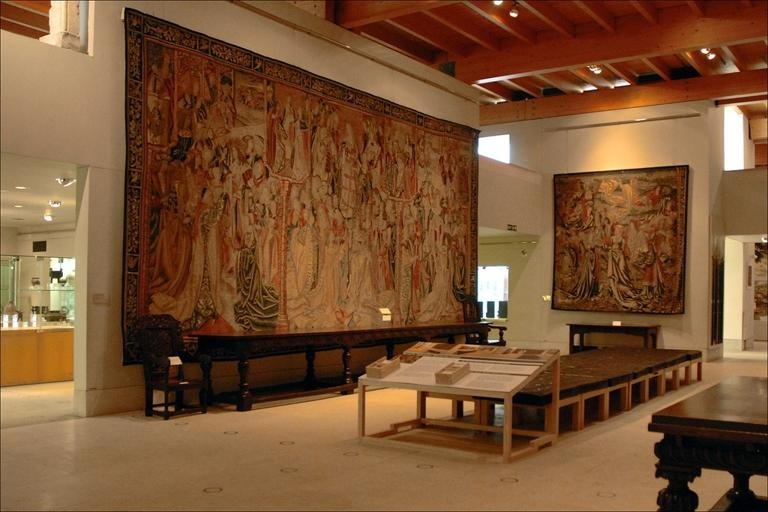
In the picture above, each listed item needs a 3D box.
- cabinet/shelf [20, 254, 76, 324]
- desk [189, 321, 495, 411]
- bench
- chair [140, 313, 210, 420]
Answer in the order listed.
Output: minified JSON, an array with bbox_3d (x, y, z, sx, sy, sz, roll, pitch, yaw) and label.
[{"bbox_3d":[-8.053,0.826,13.832,1.060,1.168,1.135,2,-2,-44],"label":"cabinet/shelf"},{"bbox_3d":[-0.524,2.449,13.575,7.698,1.201,1.512,2,-14,-41],"label":"desk"},{"bbox_3d":[4.970,2.646,12.835,2.233,1.016,10.547,0,-2,44],"label":"bench"},{"bbox_3d":[-3.779,1.941,10.493,1.041,1.764,1.083,0,-1,29],"label":"chair"}]
